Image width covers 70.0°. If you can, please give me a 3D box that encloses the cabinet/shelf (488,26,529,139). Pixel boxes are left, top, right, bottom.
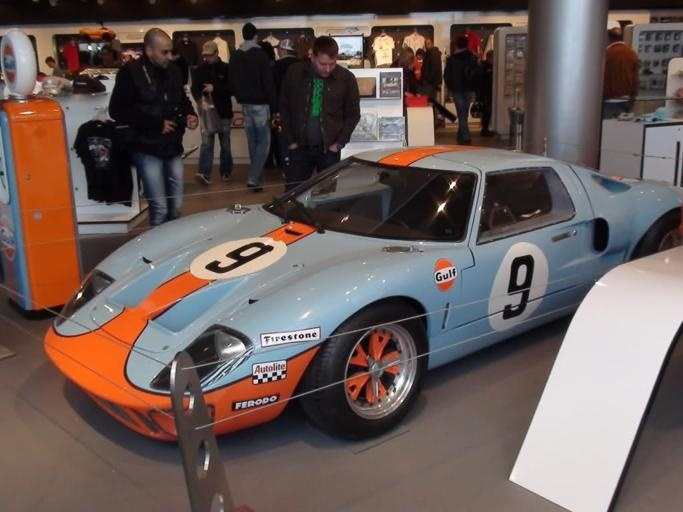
[{"bbox_3d":[3.743,-3.851,10.705,0.708,2.220,0.802,-7,20,-8],"label":"cabinet/shelf"}]

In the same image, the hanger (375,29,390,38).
[{"bbox_3d":[0.981,-5.400,11.790,0.246,0.144,0.060,-5,3,-9],"label":"hanger"}]

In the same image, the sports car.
[{"bbox_3d":[0.278,0.034,2.722,3.317,1.042,1.481,-14,23,-34],"label":"sports car"}]

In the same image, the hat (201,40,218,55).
[{"bbox_3d":[-1.989,-3.109,7.370,0.223,0.196,0.343,5,36,1],"label":"hat"}]

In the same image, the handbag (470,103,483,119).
[{"bbox_3d":[3.211,-3.441,11.656,0.342,0.378,0.363,11,24,30],"label":"handbag"}]
